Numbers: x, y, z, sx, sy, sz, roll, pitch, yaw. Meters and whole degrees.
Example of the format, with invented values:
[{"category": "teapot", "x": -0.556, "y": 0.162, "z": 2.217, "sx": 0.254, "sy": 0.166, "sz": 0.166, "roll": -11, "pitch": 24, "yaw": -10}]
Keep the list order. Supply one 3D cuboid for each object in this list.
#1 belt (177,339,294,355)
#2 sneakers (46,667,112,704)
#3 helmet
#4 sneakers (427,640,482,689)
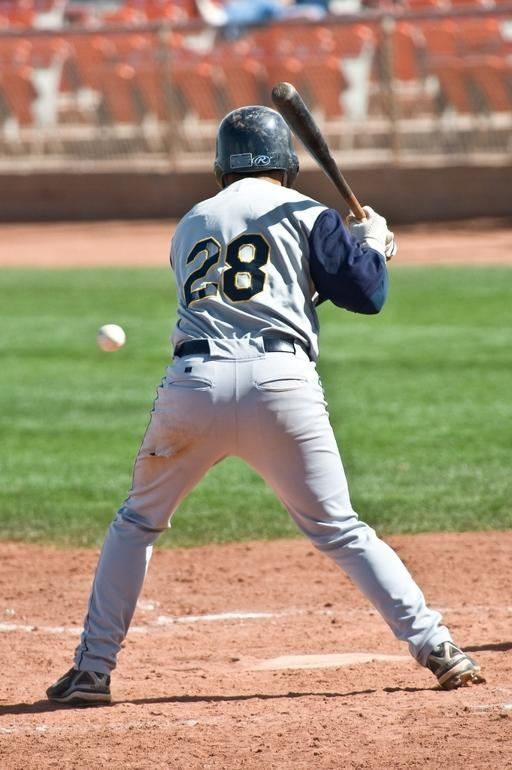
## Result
[{"category": "belt", "x": -0.063, "y": -0.099, "z": 2.820, "sx": 0.336, "sy": 0.049, "sz": 0.132, "roll": -3, "pitch": 2, "yaw": 6}, {"category": "sneakers", "x": -0.486, "y": 0.860, "z": 2.995, "sx": 0.206, "sy": 0.090, "sz": 0.080, "roll": 4, "pitch": -14, "yaw": 1}, {"category": "helmet", "x": 0.002, "y": -0.682, "z": 3.097, "sx": 0.260, "sy": 0.229, "sz": 0.279, "roll": 2, "pitch": 16, "yaw": 17}, {"category": "sneakers", "x": 0.560, "y": 0.772, "z": 2.905, "sx": 0.121, "sy": 0.078, "sz": 0.212, "roll": 41, "pitch": -3, "yaw": 22}]
